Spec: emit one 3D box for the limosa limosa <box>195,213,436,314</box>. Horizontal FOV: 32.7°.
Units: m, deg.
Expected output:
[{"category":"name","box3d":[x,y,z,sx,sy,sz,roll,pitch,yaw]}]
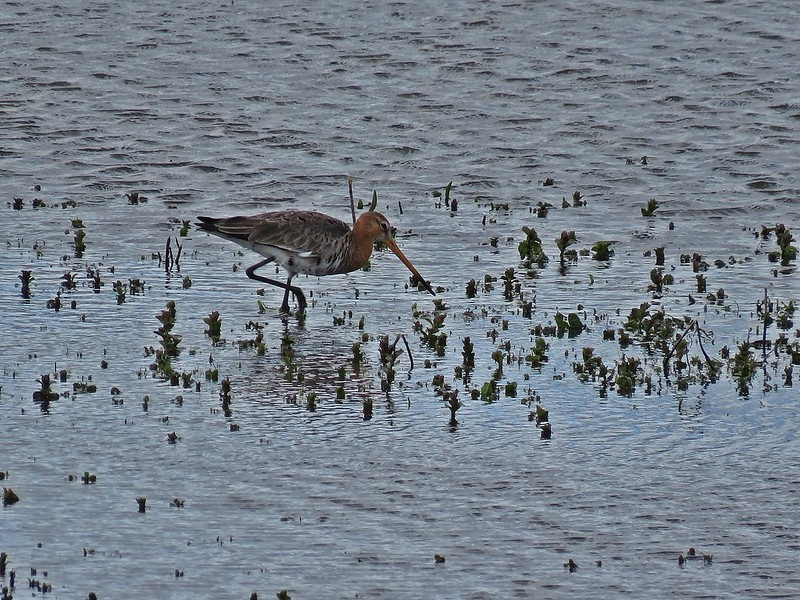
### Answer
[{"category":"limosa limosa","box3d":[-1.255,-0.473,19.538,3.435,0.793,1.396,18,90,-22]}]
